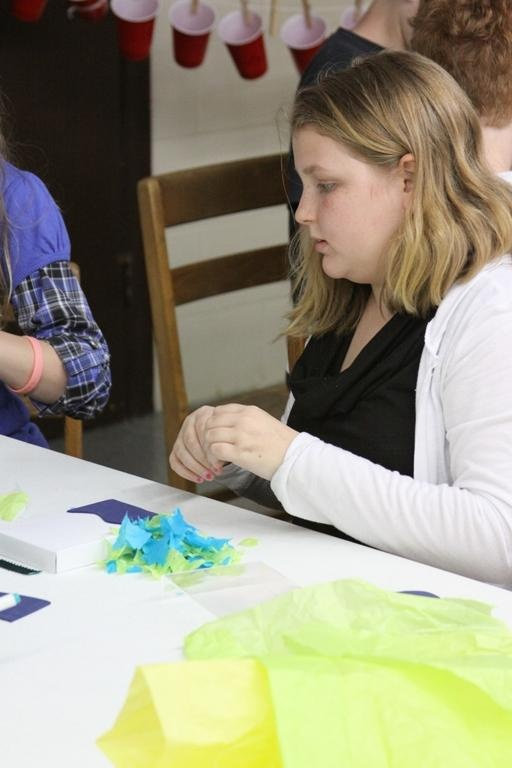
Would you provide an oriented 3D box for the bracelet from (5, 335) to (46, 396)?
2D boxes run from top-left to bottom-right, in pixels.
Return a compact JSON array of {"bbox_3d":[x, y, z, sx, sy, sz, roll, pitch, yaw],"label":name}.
[{"bbox_3d":[-0.402,-0.029,1.276,0.038,0.093,0.083,0,6,18],"label":"bracelet"}]
